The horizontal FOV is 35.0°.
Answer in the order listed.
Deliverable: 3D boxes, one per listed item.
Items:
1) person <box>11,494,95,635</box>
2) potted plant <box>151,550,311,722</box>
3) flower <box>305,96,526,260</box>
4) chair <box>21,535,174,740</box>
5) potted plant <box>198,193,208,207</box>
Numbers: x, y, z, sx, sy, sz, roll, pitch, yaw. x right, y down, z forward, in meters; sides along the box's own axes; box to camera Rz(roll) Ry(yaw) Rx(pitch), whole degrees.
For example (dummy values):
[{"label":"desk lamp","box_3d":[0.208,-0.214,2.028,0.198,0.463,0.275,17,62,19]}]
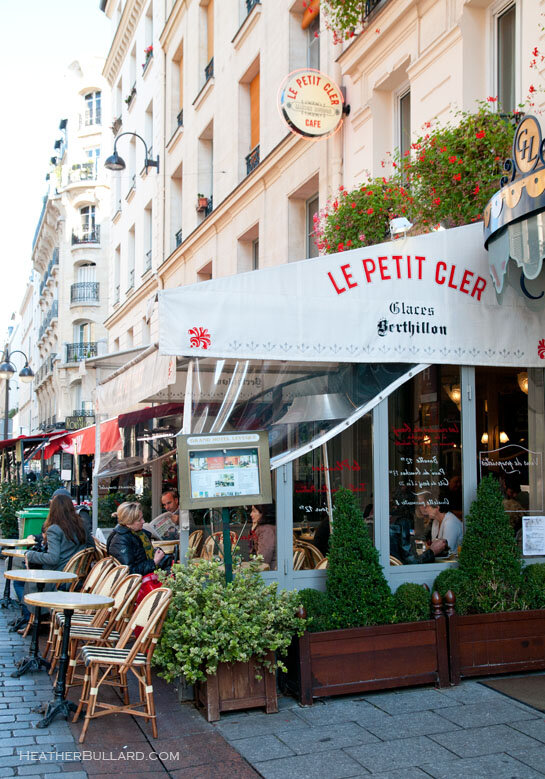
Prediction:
[{"label":"person","box_3d":[-2.150,1.635,8.414,0.675,1.276,0.566,6,5,26]},{"label":"potted plant","box_3d":[-0.347,1.624,6.039,1.005,1.033,0.937,2,-11,-19]},{"label":"flower","box_3d":[1.458,-1.996,8.509,0.577,1.242,2.549,1,-7,-22]},{"label":"chair","box_3d":[-1.594,1.790,6.369,0.993,1.216,1.049,-5,-13,37]},{"label":"potted plant","box_3d":[-1.467,-3.937,18.111,0.210,0.270,0.103,-9,-3,0]}]
